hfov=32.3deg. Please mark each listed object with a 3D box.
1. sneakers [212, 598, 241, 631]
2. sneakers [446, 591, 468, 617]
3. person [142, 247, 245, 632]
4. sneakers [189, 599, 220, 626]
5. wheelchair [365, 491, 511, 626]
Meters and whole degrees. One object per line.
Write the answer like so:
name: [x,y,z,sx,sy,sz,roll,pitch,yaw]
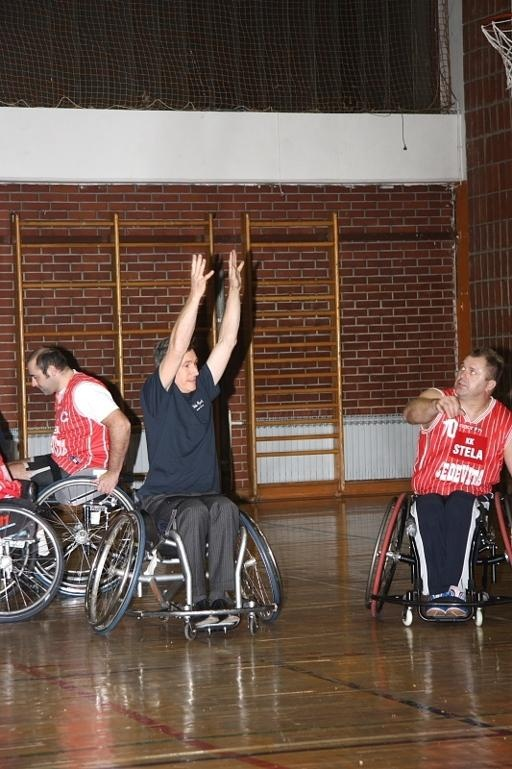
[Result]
sneakers: [-0.103,0.797,3.065,0.055,0.114,0.163,0,-25,-3]
sneakers: [0.715,0.789,3.162,0.091,0.122,0.064,0,5,4]
person: [-0.243,0.177,3.214,0.367,1.332,0.644,1,5,-4]
sneakers: [-0.172,0.801,3.078,0.047,0.098,0.140,-4,-8,7]
wheelchair: [0.715,0.693,3.568,0.446,0.670,0.787,1,-6,4]
